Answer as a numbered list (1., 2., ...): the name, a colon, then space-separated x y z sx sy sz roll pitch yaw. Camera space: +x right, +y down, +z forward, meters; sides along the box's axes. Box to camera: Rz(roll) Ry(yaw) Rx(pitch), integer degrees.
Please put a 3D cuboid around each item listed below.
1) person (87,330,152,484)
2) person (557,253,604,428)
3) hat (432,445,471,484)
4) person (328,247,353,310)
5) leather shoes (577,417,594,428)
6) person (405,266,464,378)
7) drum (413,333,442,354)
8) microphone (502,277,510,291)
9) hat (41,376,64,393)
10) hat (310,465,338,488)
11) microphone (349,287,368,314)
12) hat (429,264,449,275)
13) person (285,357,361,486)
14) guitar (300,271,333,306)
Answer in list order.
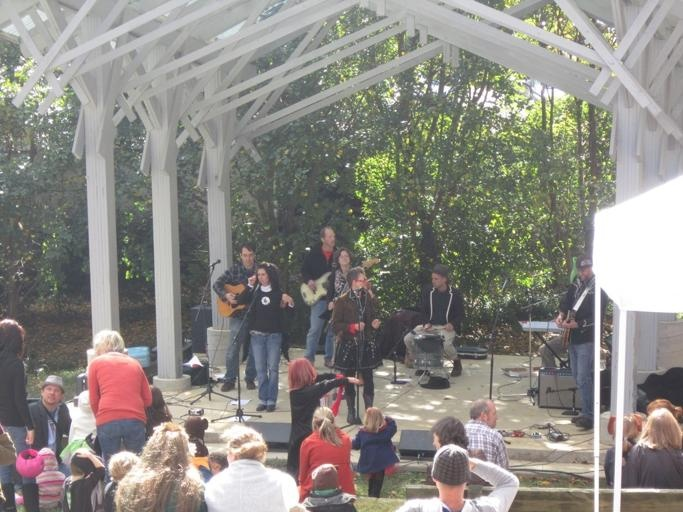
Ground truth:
1. person: -2.603 1.867 13.661 0.660 2.019 0.651 -3 5 -20
2. person: 3.211 1.181 15.843 0.464 2.331 0.592 -1 -6 11
3. hat: 1.070 2.044 11.269 0.259 0.225 0.391 1 25 6
4. person: -0.034 0.359 17.733 0.378 0.916 0.126 14 6 17
5. leather shoes: 3.323 2.290 15.901 0.169 0.082 0.125 -4 -7 34
6. person: 1.463 1.045 18.385 0.924 1.713 1.264 -1 -7 3
7. drum: 1.347 1.348 17.851 0.459 0.273 0.363 0 -7 -3
8. microphone: 3.228 0.545 22.932 0.168 0.245 0.050 13 8 -22
9. hat: -3.486 1.547 14.004 0.260 0.153 0.150 2 -7 -16
10. hat: -0.194 2.336 12.296 0.192 0.268 0.275 1 -43 9
11. microphone: 0.242 0.614 16.070 0.225 0.334 0.118 0 -13 -8
12. hat: 1.535 0.234 18.191 0.238 0.194 0.274 0 -7 0
13. person: -0.256 2.246 14.291 0.960 1.852 0.842 -1 7 -42
14. guitar: -0.403 0.526 18.481 0.720 0.521 0.250 -7 -10 44
